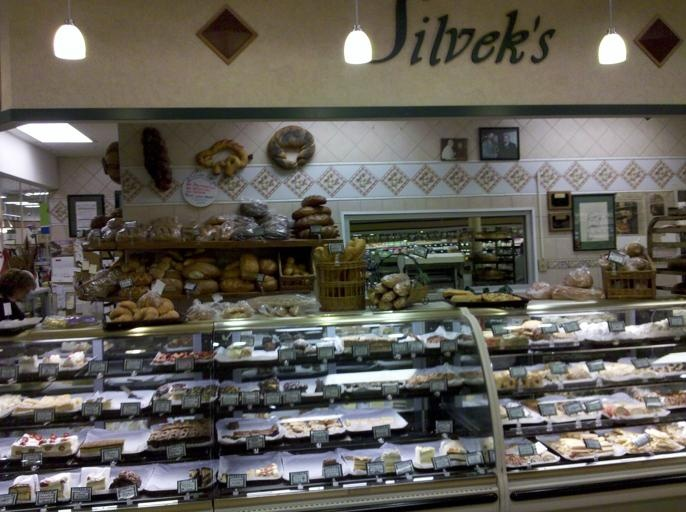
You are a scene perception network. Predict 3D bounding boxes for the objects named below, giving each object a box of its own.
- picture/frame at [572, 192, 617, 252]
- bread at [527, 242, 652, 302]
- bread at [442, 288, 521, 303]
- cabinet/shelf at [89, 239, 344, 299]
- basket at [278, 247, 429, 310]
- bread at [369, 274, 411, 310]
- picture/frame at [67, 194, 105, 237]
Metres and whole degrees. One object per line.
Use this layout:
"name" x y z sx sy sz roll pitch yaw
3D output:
"picture/frame" 2.975 -0.443 7.236 0.747 0.915 0.037 -1 2 -7
"bread" 2.032 0.147 4.797 0.719 0.268 0.536 -2 2 5
"bread" 1.071 0.303 4.662 0.583 0.115 0.243 -4 0 12
"cabinet/shelf" -1.420 0.134 6.614 2.804 0.600 0.610 0 2 16
"basket" 0.209 0.185 4.634 0.790 0.319 0.467 2 -6 -25
"bread" 0.361 0.286 4.576 0.207 0.129 0.341 17 25 31
"picture/frame" -3.650 -0.605 8.594 0.733 0.754 0.082 0 6 -7
